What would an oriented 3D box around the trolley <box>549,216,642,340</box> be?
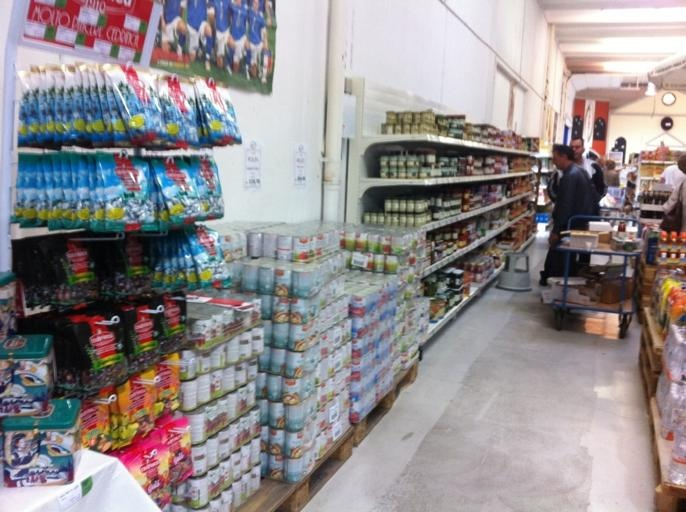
[{"bbox_3d":[3.278,0.196,6.019,1.079,1.264,1.313,4,11,19],"label":"trolley"}]
